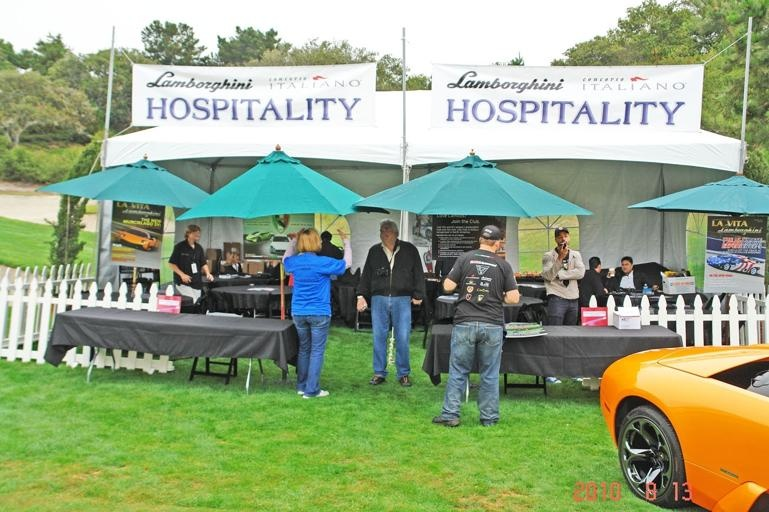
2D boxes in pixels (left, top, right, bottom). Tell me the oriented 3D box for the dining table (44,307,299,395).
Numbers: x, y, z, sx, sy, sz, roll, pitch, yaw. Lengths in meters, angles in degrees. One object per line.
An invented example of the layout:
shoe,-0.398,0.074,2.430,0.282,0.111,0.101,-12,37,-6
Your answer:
dining table,-3.171,1.279,10.161,3.726,0.942,0.476,1,-1,9

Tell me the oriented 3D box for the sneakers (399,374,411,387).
sneakers,0.315,1.950,10.631,0.124,0.128,0.319,0,-16,-2

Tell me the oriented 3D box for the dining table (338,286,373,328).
dining table,-0.676,1.120,14.748,0.825,0.859,0.928,1,-3,-3

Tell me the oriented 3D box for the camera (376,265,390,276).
camera,-0.025,0.234,10.448,0.194,0.150,0.135,0,-7,10

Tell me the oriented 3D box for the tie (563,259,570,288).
tie,2.980,0.288,11.106,0.117,0.412,0.113,2,1,-9

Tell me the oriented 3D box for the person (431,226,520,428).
person,1.274,0.941,9.164,0.998,2.699,0.318,2,-1,4

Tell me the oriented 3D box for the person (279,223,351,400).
person,-1.083,0.837,10.008,0.798,1.901,0.413,2,-1,-7

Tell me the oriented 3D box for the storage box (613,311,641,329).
storage box,3.535,0.930,9.894,0.289,0.161,0.273,0,-1,2

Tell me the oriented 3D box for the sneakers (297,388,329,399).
sneakers,-1.065,2.046,10.067,0.453,0.162,0.152,0,-1,-15

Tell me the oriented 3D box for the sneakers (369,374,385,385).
sneakers,-0.107,1.957,10.687,0.109,0.114,0.290,-5,-15,27

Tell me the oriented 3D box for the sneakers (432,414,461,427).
sneakers,0.848,2.231,9.221,0.338,0.131,0.150,-5,-4,28
